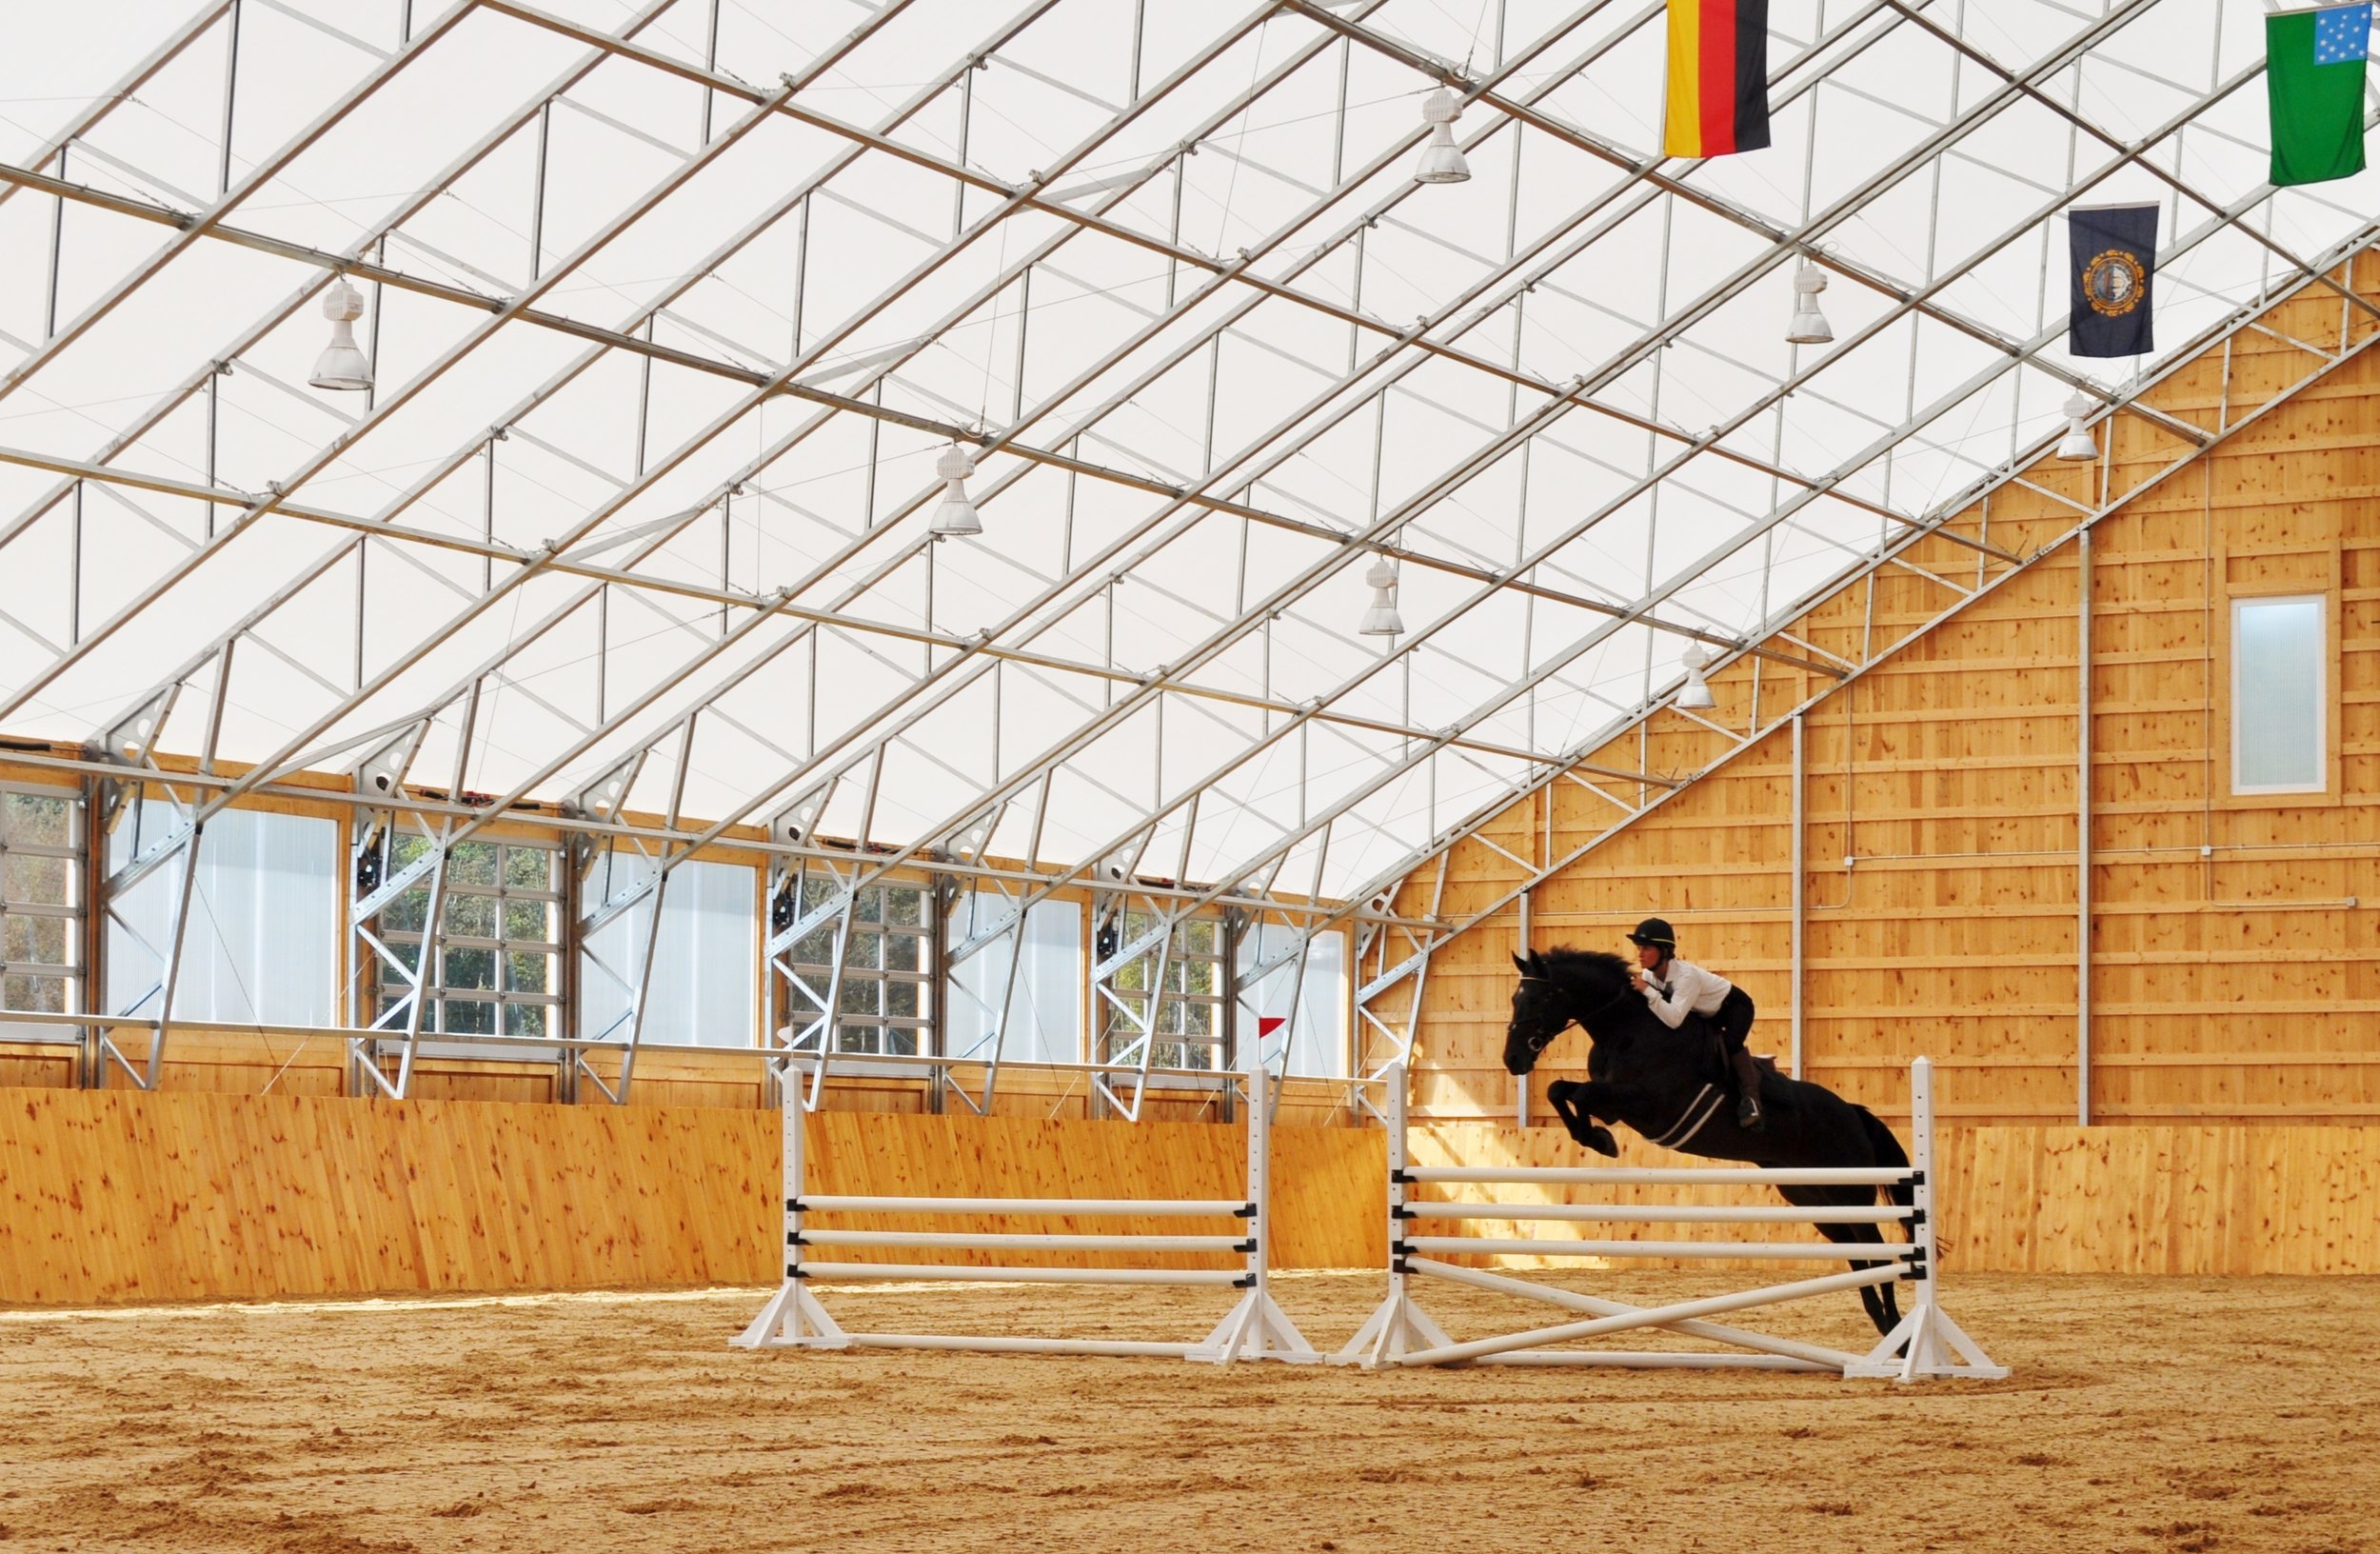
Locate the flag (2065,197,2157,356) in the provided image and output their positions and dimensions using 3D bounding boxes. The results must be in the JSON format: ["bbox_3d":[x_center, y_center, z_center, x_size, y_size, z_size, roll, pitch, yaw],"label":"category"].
[{"bbox_3d":[7.818,-4.230,40.452,0.758,1.241,0.780,-4,-9,8],"label":"flag"}]

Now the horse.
[{"bbox_3d":[3.623,2.598,33.255,3.589,2.239,0.782,16,-18,-23],"label":"horse"}]

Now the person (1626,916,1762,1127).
[{"bbox_3d":[3.406,1.679,32.997,1.167,1.307,0.486,10,-10,-28],"label":"person"}]
